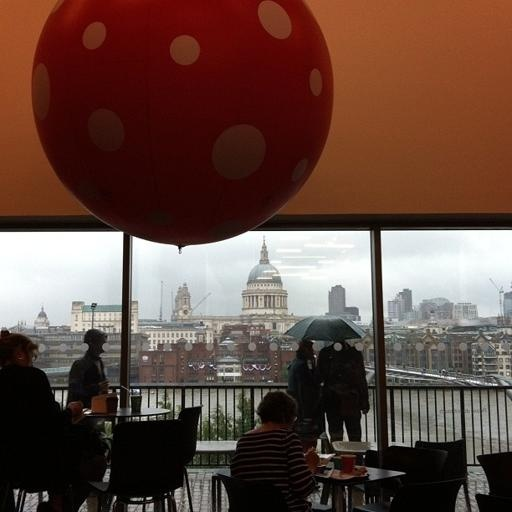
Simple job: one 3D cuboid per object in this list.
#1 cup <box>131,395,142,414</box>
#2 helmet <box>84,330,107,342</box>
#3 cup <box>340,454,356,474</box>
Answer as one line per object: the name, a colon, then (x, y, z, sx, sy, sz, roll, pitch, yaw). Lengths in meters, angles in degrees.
cup: (-0.797, 0.981, 4.296, 0.074, 0.104, 0.075, 1, -7, 0)
helmet: (-1.191, 0.586, 4.756, 0.103, 0.094, 0.091, -1, -7, 3)
cup: (0.436, 0.970, 3.033, 0.067, 0.085, 0.061, 3, -4, 0)
